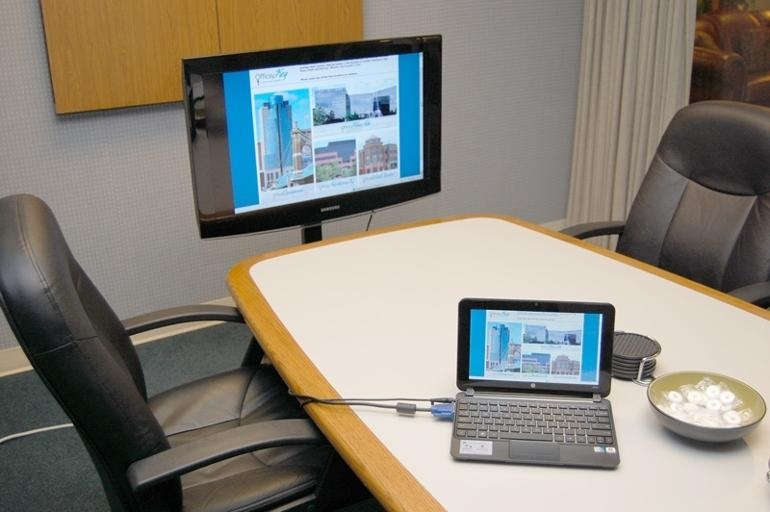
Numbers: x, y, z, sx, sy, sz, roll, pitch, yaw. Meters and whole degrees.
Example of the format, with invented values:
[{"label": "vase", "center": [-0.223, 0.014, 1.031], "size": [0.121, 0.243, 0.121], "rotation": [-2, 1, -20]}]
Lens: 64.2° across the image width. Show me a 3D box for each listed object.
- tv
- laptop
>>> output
[{"label": "tv", "center": [-0.285, -0.476, 2.383], "size": [0.894, 0.763, 0.287], "rotation": [-12, 26, -24]}, {"label": "laptop", "center": [0.356, 0.293, 1.454], "size": [0.382, 0.272, 0.287], "rotation": [3, 30, 6]}]
